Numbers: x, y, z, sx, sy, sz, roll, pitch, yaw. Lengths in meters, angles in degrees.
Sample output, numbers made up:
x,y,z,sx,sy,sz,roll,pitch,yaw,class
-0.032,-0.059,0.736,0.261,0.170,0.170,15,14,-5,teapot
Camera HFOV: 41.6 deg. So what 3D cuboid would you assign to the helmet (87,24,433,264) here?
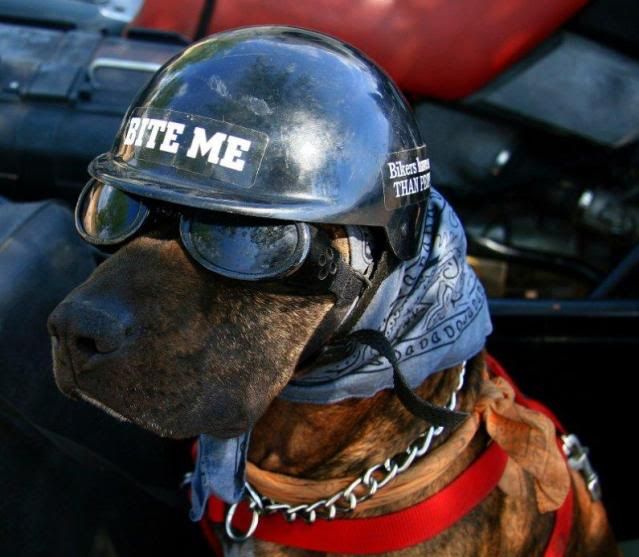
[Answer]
x,y,z,sx,sy,sz,roll,pitch,yaw,class
-0.087,-0.292,1.675,0.457,0.501,0.342,20,105,36,helmet
